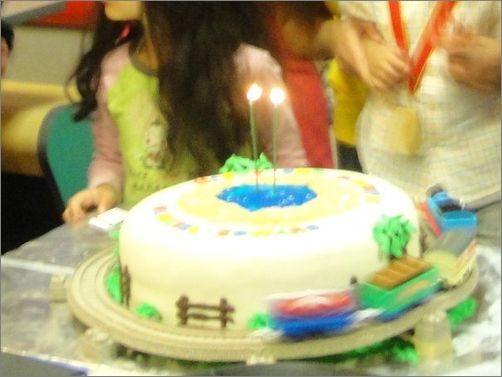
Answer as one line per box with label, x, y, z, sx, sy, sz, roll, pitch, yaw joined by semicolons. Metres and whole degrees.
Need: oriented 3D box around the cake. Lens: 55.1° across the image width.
cake;0.058;0.162;1.531;0.958;0.264;0.570;-7;22;-7
